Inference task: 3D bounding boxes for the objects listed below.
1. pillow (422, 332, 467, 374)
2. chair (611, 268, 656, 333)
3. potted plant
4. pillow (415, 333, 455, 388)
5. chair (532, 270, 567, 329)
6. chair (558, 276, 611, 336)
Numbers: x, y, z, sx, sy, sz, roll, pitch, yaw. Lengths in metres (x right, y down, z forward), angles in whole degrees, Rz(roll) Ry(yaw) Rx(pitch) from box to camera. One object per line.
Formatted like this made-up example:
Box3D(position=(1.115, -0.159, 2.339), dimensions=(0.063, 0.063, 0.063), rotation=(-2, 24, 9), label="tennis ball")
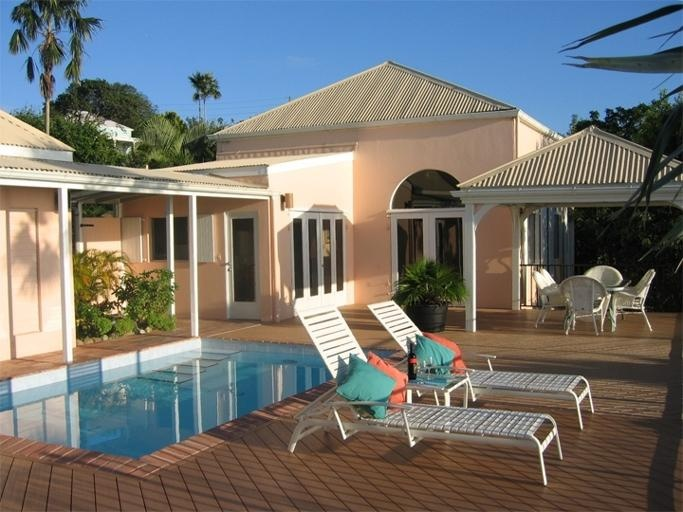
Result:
Box3D(position=(1.417, 1.228, 8.413), dimensions=(0.394, 0.493, 0.437), rotation=(4, -40, 8), label="pillow")
Box3D(position=(6.159, 0.910, 12.785), dimensions=(0.954, 1.136, 0.924), rotation=(1, 14, 38), label="chair")
Box3D(position=(1.825, 0.860, 12.918), dimensions=(1.473, 1.355, 1.432), rotation=(-1, -3, -17), label="potted plant")
Box3D(position=(1.208, 1.391, 7.852), dimensions=(0.503, 0.534, 0.238), rotation=(21, -43, -24), label="pillow")
Box3D(position=(4.807, 0.986, 13.259), dimensions=(1.070, 1.145, 1.044), rotation=(6, 2, 15), label="chair")
Box3D(position=(5.013, 0.966, 12.394), dimensions=(0.996, 1.225, 0.980), rotation=(1, 11, 21), label="chair")
